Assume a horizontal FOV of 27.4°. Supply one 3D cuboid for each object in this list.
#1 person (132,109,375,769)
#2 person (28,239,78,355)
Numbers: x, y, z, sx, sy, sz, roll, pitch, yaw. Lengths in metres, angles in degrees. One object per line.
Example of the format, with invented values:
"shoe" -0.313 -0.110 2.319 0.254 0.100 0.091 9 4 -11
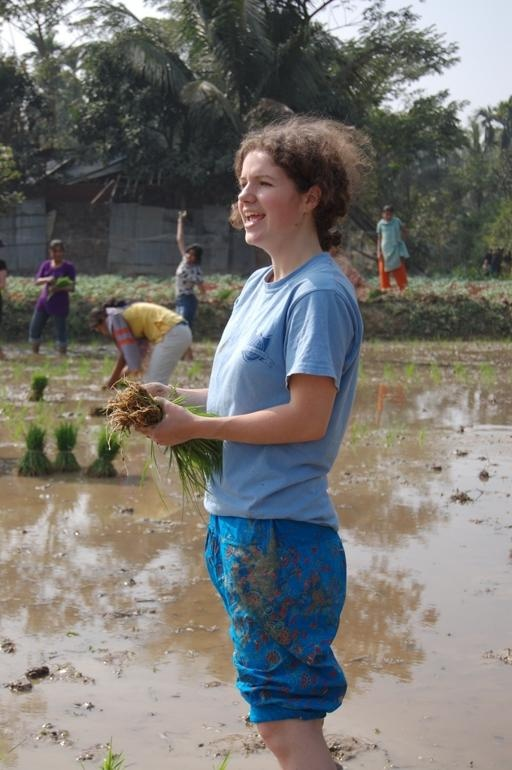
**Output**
"person" 0.013 0.131 2.919 0.559 1.738 0.759 0 11 2
"person" -2.312 -0.967 11.883 0.525 1.361 0.863 -3 11 -11
